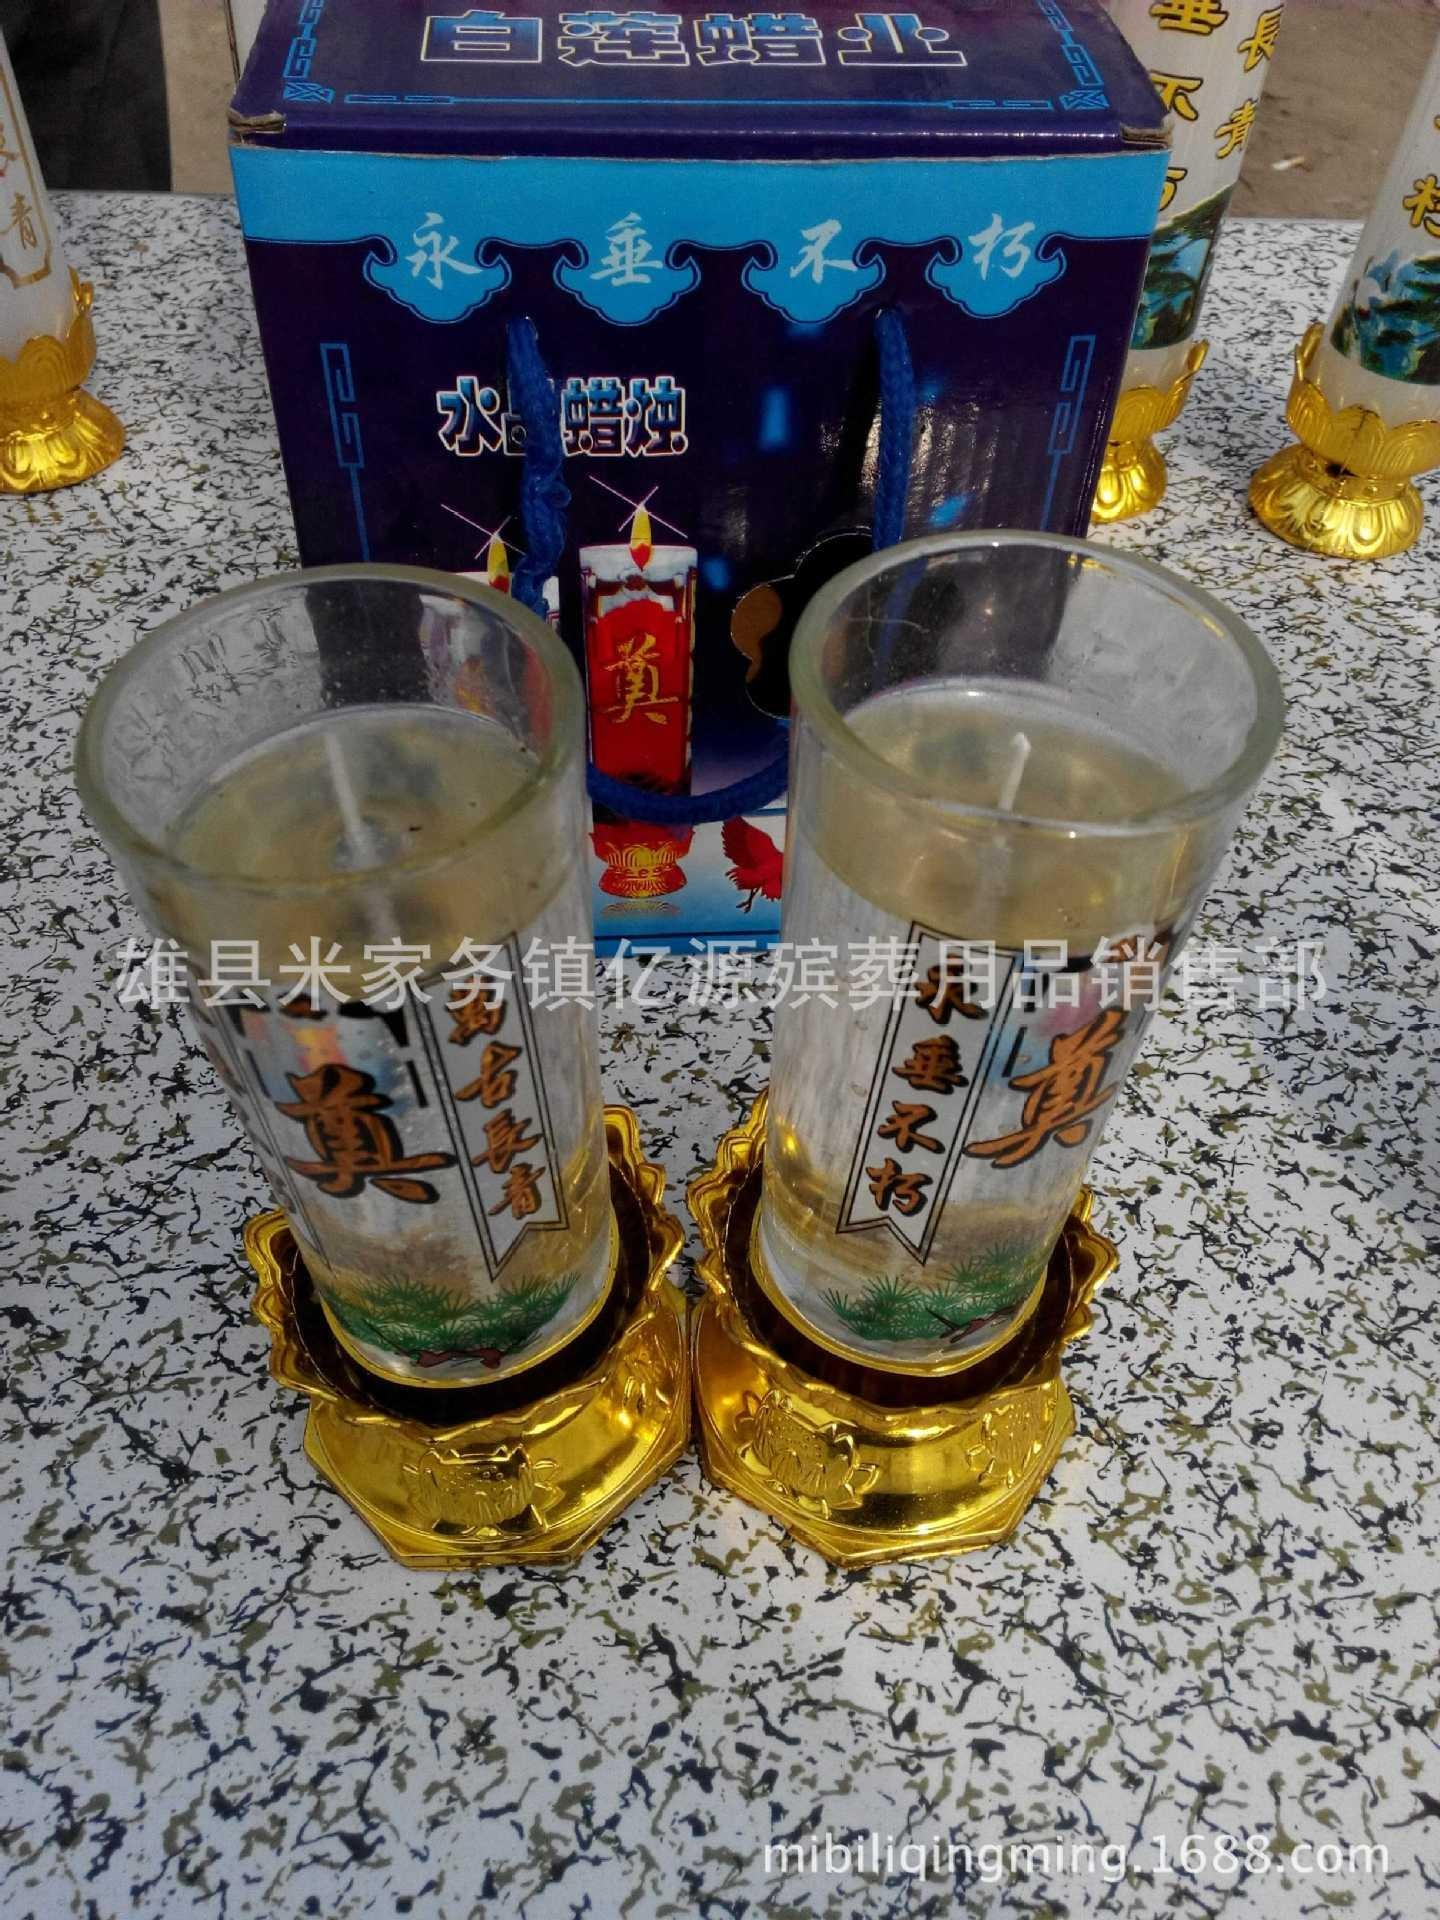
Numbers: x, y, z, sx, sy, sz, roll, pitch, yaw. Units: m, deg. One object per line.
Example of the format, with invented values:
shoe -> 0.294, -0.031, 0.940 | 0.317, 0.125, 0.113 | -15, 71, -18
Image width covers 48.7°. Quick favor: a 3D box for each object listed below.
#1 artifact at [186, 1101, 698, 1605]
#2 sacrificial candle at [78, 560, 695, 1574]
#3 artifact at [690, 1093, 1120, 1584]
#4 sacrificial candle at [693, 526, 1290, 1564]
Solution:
artifact -> -0.057, 0.093, 0.396 | 0.103, 0.061, 0.096 | 4, 39, 6
sacrificial candle -> -0.061, 0.015, 0.333 | 0.101, 0.168, 0.110 | -15, 48, -16
artifact -> 0.030, 0.108, 0.428 | 0.118, 0.066, 0.110 | 17, 49, 15
sacrificial candle -> 0.046, 0.031, 0.348 | 0.104, 0.218, 0.121 | 1, 46, -1
